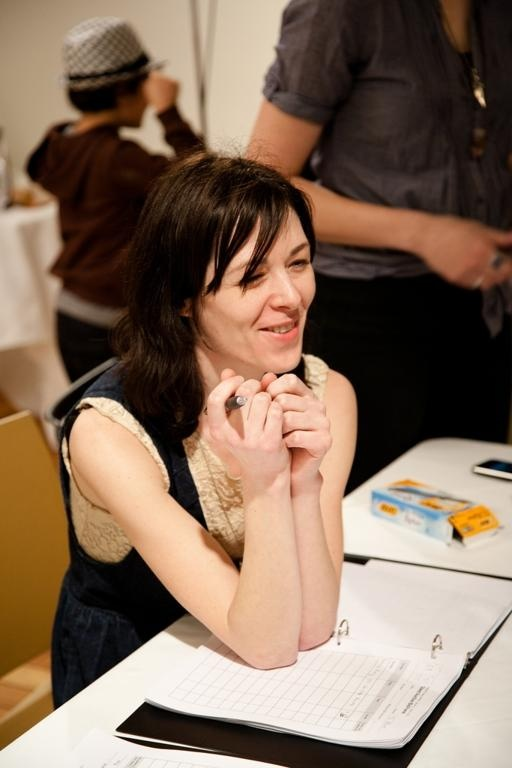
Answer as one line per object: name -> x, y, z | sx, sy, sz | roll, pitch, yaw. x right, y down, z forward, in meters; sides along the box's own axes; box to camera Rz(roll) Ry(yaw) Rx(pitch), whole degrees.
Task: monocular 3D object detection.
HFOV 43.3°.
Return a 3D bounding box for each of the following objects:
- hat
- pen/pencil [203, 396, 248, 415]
hat -> -0.334, -0.704, 1.376 | 0.136, 0.084, 0.156 | 1, 35, 11
pen/pencil -> -0.028, 0.027, 0.742 | 0.013, 0.011, 0.043 | -27, -2, -39
